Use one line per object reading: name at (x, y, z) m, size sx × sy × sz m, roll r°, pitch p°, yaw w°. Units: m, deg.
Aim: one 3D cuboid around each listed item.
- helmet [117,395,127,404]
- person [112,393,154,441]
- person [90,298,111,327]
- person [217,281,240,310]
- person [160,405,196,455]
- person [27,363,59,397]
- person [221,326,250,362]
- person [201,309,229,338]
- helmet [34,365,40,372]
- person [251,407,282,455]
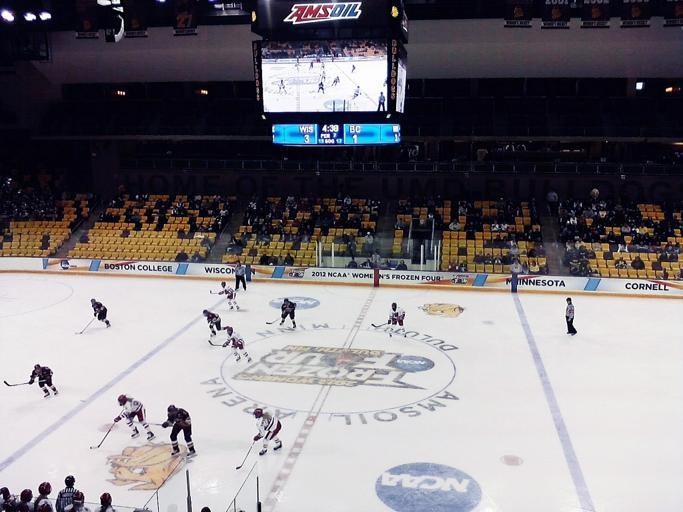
helmet at (-6.053, 4.002, 16.876) m, size 0.220 × 0.295 × 0.295 m, roll -6°, pitch 13°, yaw -21°
person at (-5.903, 4.479, 17.148) m, size 0.950 × 1.494 × 0.559 m, roll -9°, pitch 14°, yaw -10°
person at (-10.004, 2.282, 25.388) m, size 0.621 × 1.152 × 1.439 m, roll -6°, pitch 13°, yaw -22°
person at (-5.159, 1.563, 28.143) m, size 0.783 × 1.437 × 2.723 m, roll -3°, pitch 12°, yaw -10°
person at (-4.345, 4.674, 16.347) m, size 0.804 × 1.348 × 0.599 m, roll 7°, pitch 14°, yaw 33°
person at (-9.386, 3.901, 19.047) m, size 0.452 × 1.184 × 0.790 m, roll 11°, pitch 23°, yaw 43°
person at (-3.737, 3.104, 21.470) m, size 0.777 × 1.461 × 0.610 m, roll -11°, pitch 16°, yaw 3°
person at (-5.034, 2.523, 24.004) m, size 0.615 × 1.230 × 1.534 m, roll -2°, pitch 12°, yaw -6°
helmet at (-9.495, 3.478, 18.901) m, size 0.201 × 0.267 × 0.262 m, roll -2°, pitch -9°, yaw -29°
person at (-2.035, 4.708, 16.506) m, size 0.760 × 1.277 × 0.819 m, roll -9°, pitch 14°, yaw -36°
